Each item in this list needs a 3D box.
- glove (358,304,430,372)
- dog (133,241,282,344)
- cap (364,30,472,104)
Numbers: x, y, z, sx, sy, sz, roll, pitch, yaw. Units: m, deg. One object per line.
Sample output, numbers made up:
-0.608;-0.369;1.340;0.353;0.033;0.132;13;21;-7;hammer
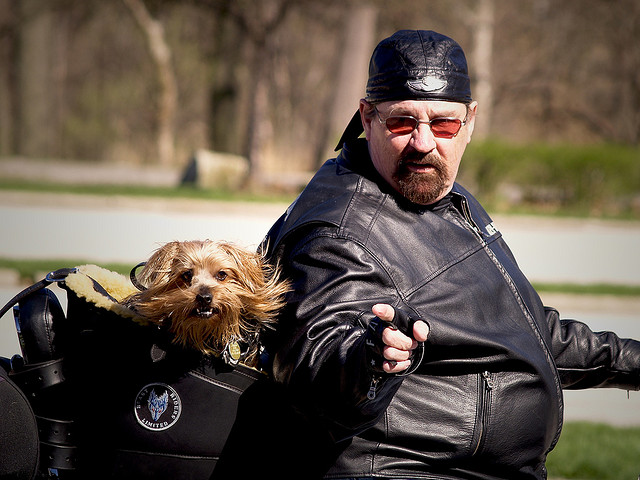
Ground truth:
0.470;0.655;8.584;0.424;0.416;0.127;6;8;20;glove
-0.752;0.292;9.223;0.812;0.757;0.944;-3;8;-19;dog
0.704;-1.285;9.578;0.803;0.542;0.865;4;9;44;cap
